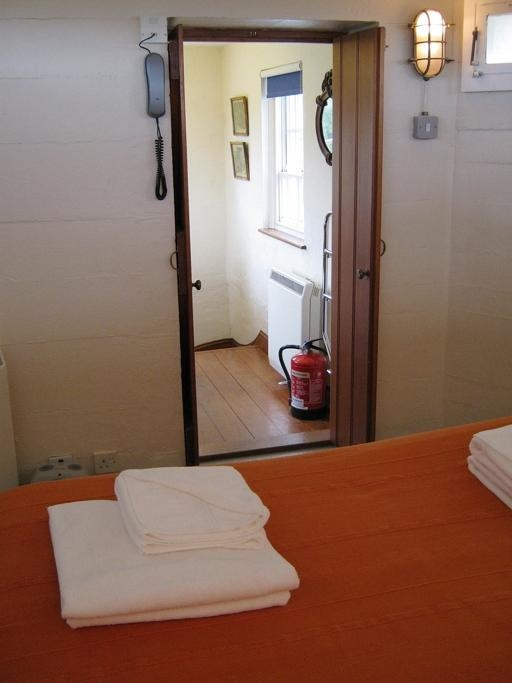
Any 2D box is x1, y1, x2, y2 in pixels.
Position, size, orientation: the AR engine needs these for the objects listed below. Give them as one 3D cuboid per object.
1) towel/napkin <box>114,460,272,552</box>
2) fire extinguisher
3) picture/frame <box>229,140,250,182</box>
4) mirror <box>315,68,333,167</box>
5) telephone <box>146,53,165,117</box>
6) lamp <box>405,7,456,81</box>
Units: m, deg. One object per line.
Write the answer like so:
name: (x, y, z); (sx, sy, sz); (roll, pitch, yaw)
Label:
towel/napkin: (-0.129, 0.365, 1.223); (0.187, 0.060, 0.193); (1, 24, -26)
fire extinguisher: (0.297, 0.217, 3.575); (0.275, 0.503, 0.265); (6, 21, 21)
picture/frame: (-0.136, -1.563, 4.842); (0.039, 0.374, 0.414); (-9, 7, -14)
mirror: (0.400, -1.324, 3.320); (0.093, 0.452, 0.281); (2, 10, 2)
telephone: (-0.397, -1.031, 2.275); (0.076, 0.234, 0.030); (6, 34, 5)
lamp: (0.776, -1.353, 2.532); (0.234, 0.336, 0.093); (-11, 26, -14)
